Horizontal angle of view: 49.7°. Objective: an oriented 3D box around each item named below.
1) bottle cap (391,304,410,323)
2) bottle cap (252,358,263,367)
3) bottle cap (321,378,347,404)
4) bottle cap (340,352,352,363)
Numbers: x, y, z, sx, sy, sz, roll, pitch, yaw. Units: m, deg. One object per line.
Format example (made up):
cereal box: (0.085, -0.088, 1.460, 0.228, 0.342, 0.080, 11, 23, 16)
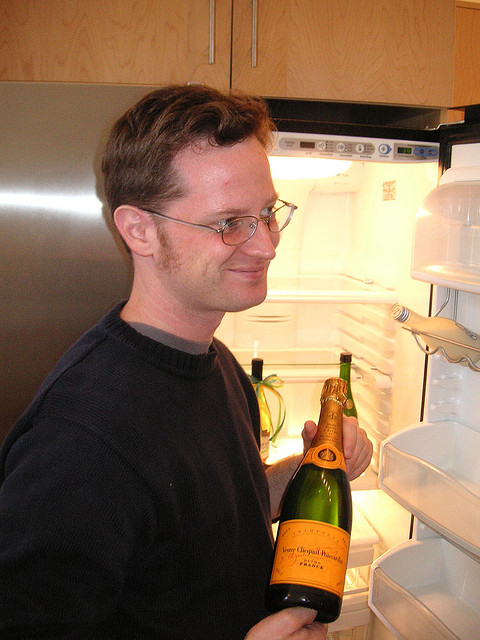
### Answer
bottle cap: (0.327, -0.013, 1.055, 0.037, 0.033, 0.032, 32, -32, -28)
bottle cap: (0.042, 0.102, 1.251, 0.020, 0.014, 0.020, 1, -1, 8)
bottle cap: (0.135, 0.098, 0.729, 0.034, 0.032, 0.035, -1, -2, 30)
bottle cap: (0.219, 0.076, 1.076, 0.023, 0.021, 0.023, 1, 3, -2)
